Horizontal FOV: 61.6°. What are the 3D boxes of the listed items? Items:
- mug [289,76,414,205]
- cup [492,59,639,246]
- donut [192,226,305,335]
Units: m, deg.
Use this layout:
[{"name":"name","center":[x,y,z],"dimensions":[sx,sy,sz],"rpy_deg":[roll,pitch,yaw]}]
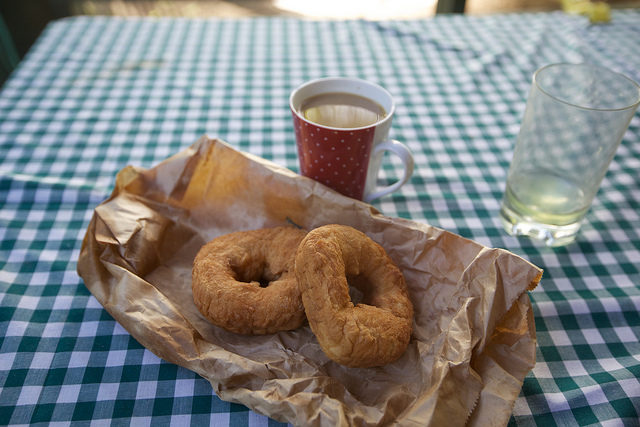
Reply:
[{"name":"mug","center":[0.111,-0.242,1.467],"dimensions":[0.323,0.351,0.311],"rpy_deg":[14,29,30]},{"name":"cup","center":[0.670,-0.161,1.462],"dimensions":[0.308,0.385,0.375],"rpy_deg":[21,56,15]},{"name":"donut","center":[-0.177,0.149,1.329],"dimensions":[0.273,0.168,0.276],"rpy_deg":[-2,54,-1]}]
